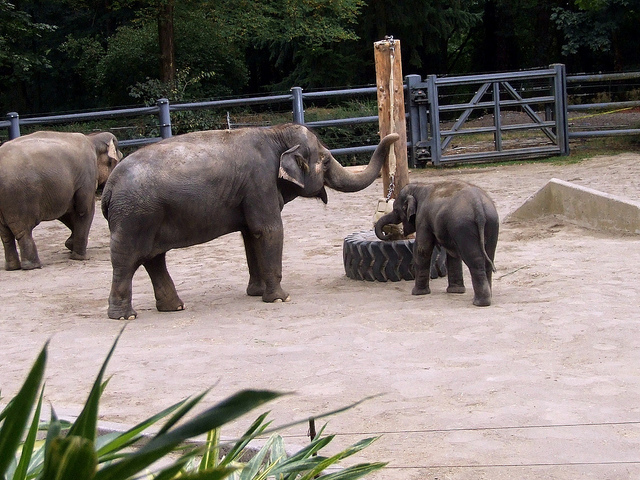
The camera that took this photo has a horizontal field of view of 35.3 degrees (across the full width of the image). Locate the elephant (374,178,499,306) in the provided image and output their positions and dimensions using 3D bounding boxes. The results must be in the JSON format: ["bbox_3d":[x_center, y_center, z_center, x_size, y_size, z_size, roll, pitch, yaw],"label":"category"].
[{"bbox_3d":[1.172,-0.021,9.725,0.646,1.083,1.773,-6,8,-30],"label":"elephant"}]

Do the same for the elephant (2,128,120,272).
[{"bbox_3d":[-3.019,-0.444,11.617,0.956,1.075,1.807,2,7,19],"label":"elephant"}]

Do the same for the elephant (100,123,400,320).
[{"bbox_3d":[-0.901,-0.224,9.645,2.431,1.679,0.785,-5,12,-13],"label":"elephant"}]
